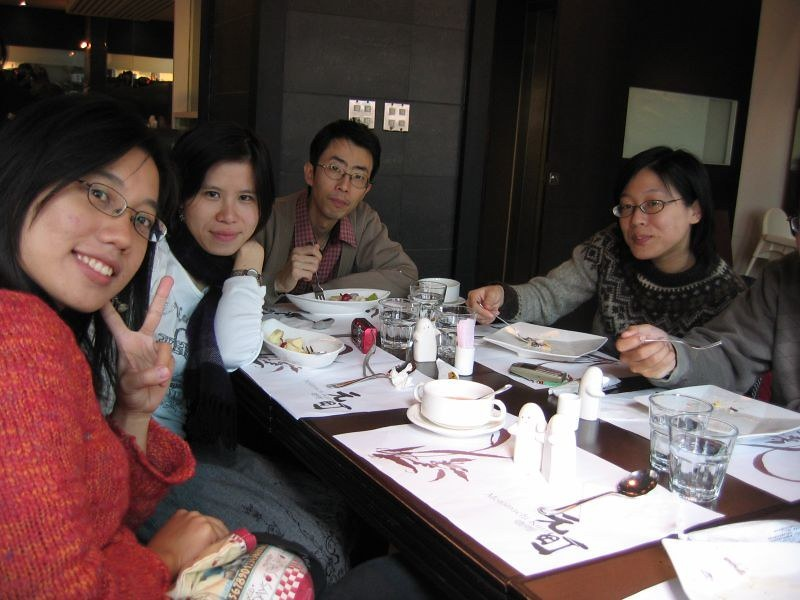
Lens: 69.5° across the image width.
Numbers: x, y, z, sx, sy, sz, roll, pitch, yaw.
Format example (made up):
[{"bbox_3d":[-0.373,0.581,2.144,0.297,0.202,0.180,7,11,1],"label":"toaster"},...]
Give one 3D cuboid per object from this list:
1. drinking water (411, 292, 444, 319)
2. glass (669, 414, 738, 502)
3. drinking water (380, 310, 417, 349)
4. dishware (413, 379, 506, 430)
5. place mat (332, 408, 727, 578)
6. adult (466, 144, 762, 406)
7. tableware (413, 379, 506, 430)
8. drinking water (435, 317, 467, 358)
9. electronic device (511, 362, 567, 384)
[{"bbox_3d":[0.088,0.012,2.058,0.113,0.115,0.072,-16,23,-38],"label":"drinking water"},{"bbox_3d":[0.573,0.304,1.100,0.104,0.120,0.105,-6,16,-23],"label":"glass"},{"bbox_3d":[-0.012,0.094,1.865,0.107,0.109,0.122,2,-1,-8],"label":"drinking water"},{"bbox_3d":[0.134,0.208,1.290,0.137,0.055,0.111,13,14,35],"label":"dishware"},{"bbox_3d":[0.247,0.351,1.069,0.265,0.007,0.397,-4,16,-31],"label":"place mat"},{"bbox_3d":[0.933,-0.098,2.372,0.740,1.011,1.231,-9,16,-34],"label":"adult"},{"bbox_3d":[0.124,0.209,1.300,0.137,0.055,0.111,13,14,35],"label":"tableware"},{"bbox_3d":[0.147,0.113,1.838,0.110,0.131,0.112,0,7,-5],"label":"drinking water"},{"bbox_3d":[0.394,0.207,1.631,0.100,0.027,0.061,15,18,31],"label":"electronic device"}]
